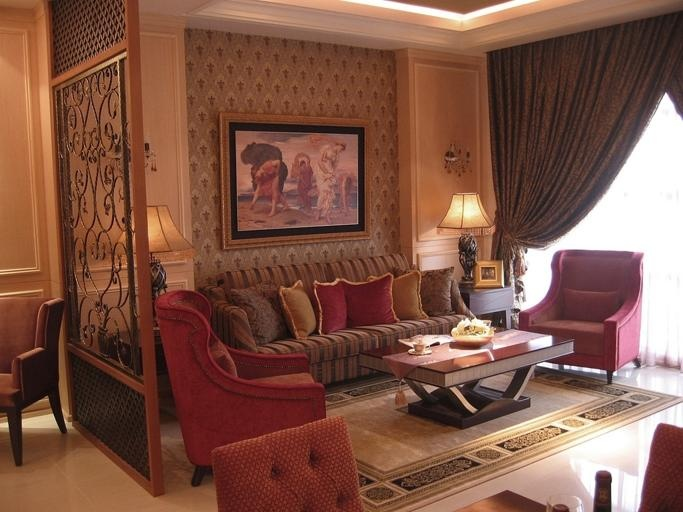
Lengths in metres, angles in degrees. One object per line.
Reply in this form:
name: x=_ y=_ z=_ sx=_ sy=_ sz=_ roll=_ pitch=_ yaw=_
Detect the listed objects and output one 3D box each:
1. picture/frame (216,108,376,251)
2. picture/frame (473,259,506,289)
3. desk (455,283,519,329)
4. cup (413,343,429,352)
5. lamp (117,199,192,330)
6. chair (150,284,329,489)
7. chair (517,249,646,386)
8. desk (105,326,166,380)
picture/frame: x=-0.565 y=-0.835 z=5.460 sx=1.579 sy=1.196 sz=0.076 roll=-3 pitch=4 yaw=-34
picture/frame: x=1.731 y=0.217 z=6.069 sx=0.331 sy=0.339 sz=0.044 roll=-1 pitch=-12 yaw=1
desk: x=1.767 y=0.534 z=6.069 sx=0.535 sy=0.765 sz=0.812 roll=4 pitch=8 yaw=42
cup: x=0.641 y=0.725 z=4.101 sx=0.075 sy=0.078 sz=0.150 roll=4 pitch=8 yaw=41
lamp: x=-1.496 y=0.005 z=4.322 sx=0.714 sy=0.933 sz=0.744 roll=-3 pitch=8 yaw=-22
chair: x=-0.716 y=0.734 z=3.880 sx=1.324 sy=1.467 sz=1.061 roll=-5 pitch=11 yaw=-14
chair: x=2.338 y=0.545 z=5.676 sx=1.265 sy=1.706 sz=1.288 roll=0 pitch=0 yaw=42
desk: x=-1.427 y=0.667 z=3.510 sx=0.514 sy=0.340 sz=0.281 roll=8 pitch=13 yaw=44
